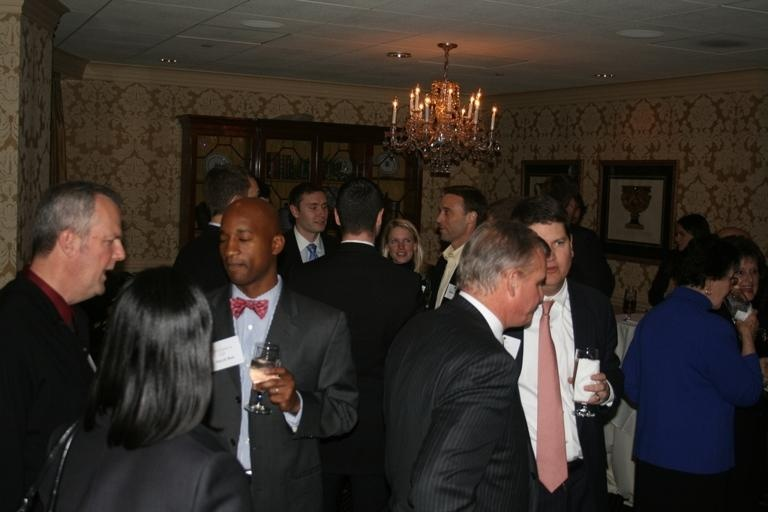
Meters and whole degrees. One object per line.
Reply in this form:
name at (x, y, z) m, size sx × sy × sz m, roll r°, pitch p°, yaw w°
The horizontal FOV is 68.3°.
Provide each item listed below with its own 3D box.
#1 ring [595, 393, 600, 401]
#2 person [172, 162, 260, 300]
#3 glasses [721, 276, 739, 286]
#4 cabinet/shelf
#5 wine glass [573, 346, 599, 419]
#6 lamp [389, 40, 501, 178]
ring at (0.927, 0.617, 2.476) m, size 0.018 × 0.015 × 0.032 m, roll 36°, pitch -30°, yaw 14°
person at (-1.033, -0.171, 3.724) m, size 0.531 × 0.744 × 0.762 m, roll 5°, pitch -20°, yaw 8°
glasses at (1.844, 0.132, 3.039) m, size 0.046 × 0.054 × 0.061 m, roll -5°, pitch -38°, yaw 5°
cabinet/shelf at (-1.019, -0.797, 7.718) m, size 3.366 × 2.039 × 0.542 m, roll -6°, pitch 16°, yaw -33°
wine glass at (0.889, 0.570, 2.519) m, size 0.100 × 0.328 × 0.139 m, roll 4°, pitch 4°, yaw 21°
lamp at (0.594, -1.580, 6.013) m, size 1.169 × 1.334 × 1.198 m, roll 5°, pitch 8°, yaw 15°
